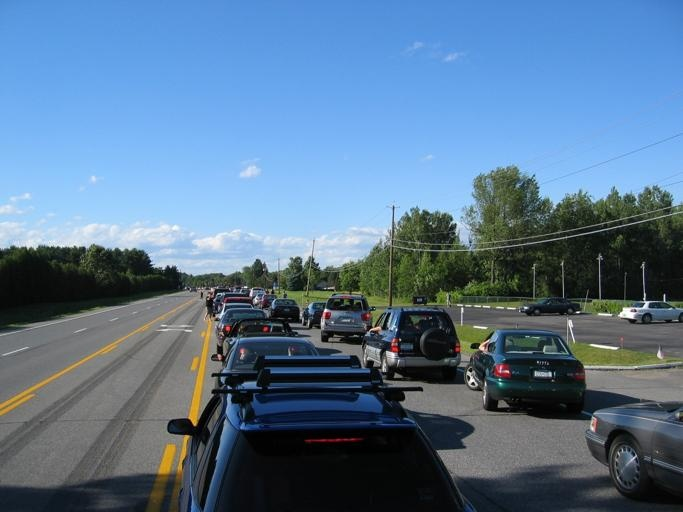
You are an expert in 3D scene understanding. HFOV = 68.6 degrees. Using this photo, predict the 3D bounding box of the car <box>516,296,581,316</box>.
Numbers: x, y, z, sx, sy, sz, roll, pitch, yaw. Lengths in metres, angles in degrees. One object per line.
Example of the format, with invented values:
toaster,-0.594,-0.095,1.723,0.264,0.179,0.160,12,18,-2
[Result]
car,22.711,5.502,54.820,6.757,1.805,2.033,1,-5,-20

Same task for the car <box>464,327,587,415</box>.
car,4.055,2.679,11.807,1.868,1.887,2.583,1,-6,-27
